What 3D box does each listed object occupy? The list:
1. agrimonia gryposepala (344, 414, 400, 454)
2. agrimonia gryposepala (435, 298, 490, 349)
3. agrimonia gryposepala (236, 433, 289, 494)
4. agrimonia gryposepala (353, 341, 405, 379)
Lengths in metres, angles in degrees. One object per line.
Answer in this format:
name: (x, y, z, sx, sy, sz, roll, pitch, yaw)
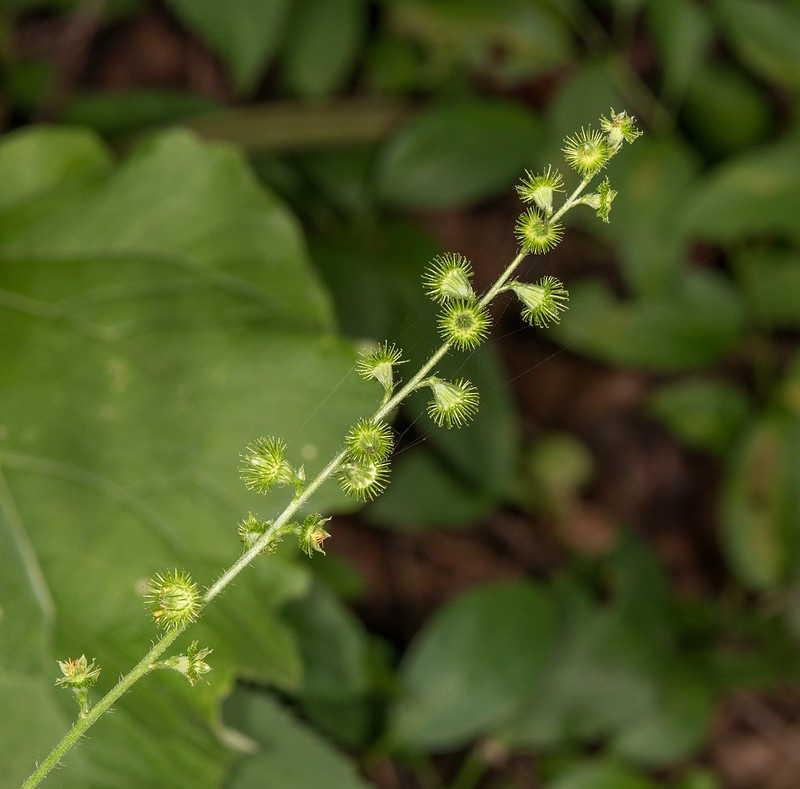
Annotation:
agrimonia gryposepala: (-0.021, 0.034, 0.860, 0.037, 0.038, 0.035, 41, 98, -2)
agrimonia gryposepala: (0.058, -0.070, 0.847, 0.043, 0.040, 0.016, 24, 44, -4)
agrimonia gryposepala: (-0.131, 0.065, 0.924, 0.040, 0.045, 0.041, -11, 46, 14)
agrimonia gryposepala: (-0.019, -0.030, 0.894, 0.042, 0.041, 0.024, -4, 55, -36)
